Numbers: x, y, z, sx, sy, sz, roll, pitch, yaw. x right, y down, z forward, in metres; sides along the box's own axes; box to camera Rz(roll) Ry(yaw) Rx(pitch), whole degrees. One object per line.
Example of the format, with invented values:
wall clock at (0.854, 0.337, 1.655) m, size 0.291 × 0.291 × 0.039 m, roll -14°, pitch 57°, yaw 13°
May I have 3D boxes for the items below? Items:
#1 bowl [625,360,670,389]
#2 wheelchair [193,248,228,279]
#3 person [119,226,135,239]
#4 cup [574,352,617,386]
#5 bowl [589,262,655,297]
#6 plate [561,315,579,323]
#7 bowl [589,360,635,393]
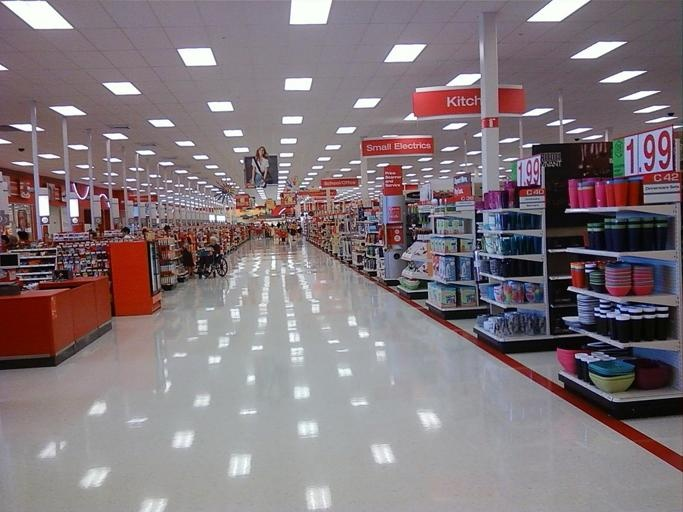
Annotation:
bowl at (2.971, 1.156, 4.579) m, size 0.227 × 0.140 × 0.301 m, roll -1°, pitch -6°, yaw -4°
wheelchair at (-4.285, 0.328, 15.510) m, size 0.767 × 1.150 × 1.236 m, roll -5°, pitch -19°, yaw 17°
person at (-5.717, -0.619, 12.539) m, size 0.480 × 0.320 × 0.738 m, roll 2°, pitch 8°, yaw -34°
cup at (2.530, 1.125, 4.671) m, size 0.226 × 0.183 × 0.340 m, roll -1°, pitch -1°, yaw -6°
bowl at (2.656, 0.219, 4.433) m, size 0.326 × 0.231 × 0.455 m, roll -1°, pitch -2°, yaw -6°
plate at (2.515, 0.711, 5.212) m, size 0.163 × 0.047 × 0.168 m, roll 0°, pitch -3°, yaw -7°
bowl at (2.589, 1.165, 4.502) m, size 0.269 × 0.210 × 0.346 m, roll -1°, pitch -6°, yaw -2°
